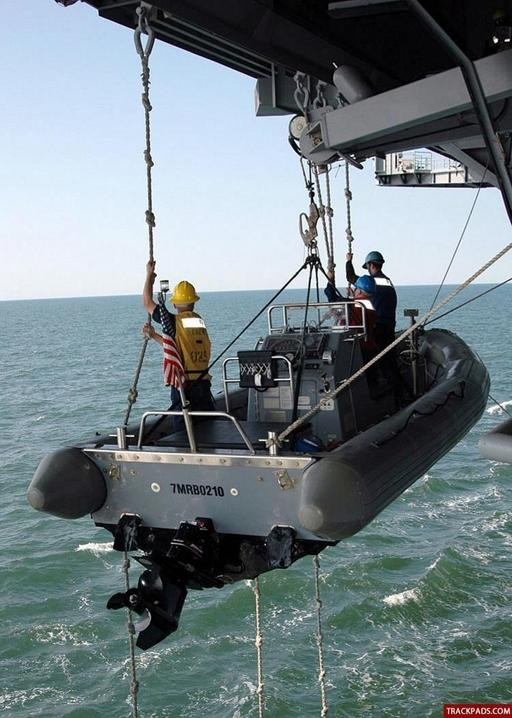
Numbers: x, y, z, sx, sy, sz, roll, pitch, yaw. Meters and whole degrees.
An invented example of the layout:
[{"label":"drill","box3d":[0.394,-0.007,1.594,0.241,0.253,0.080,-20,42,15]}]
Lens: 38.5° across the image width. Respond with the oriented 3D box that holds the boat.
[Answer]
[{"label":"boat","box3d":[0.949,1.099,7.770,3.175,2.519,5.619,-16,3,36]}]
